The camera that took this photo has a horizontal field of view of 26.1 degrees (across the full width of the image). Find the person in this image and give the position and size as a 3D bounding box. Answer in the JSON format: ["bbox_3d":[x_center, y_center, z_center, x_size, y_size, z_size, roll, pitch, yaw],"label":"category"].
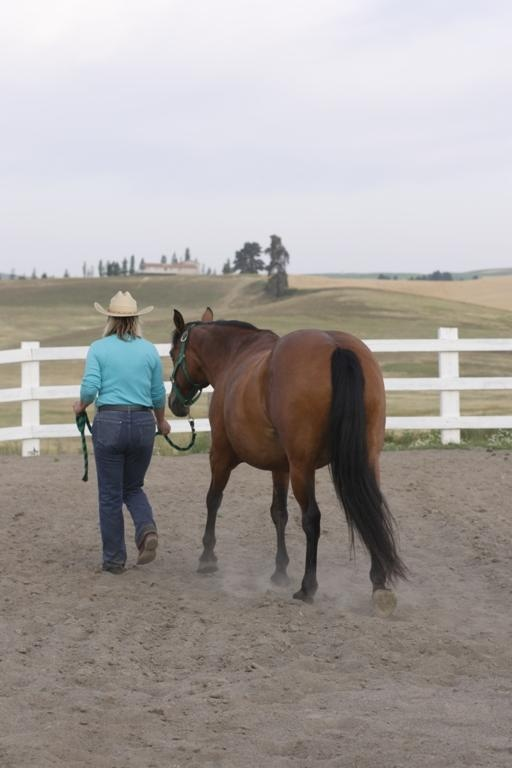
[{"bbox_3d":[-0.836,0.300,6.845,0.535,1.740,0.480,1,6,-6],"label":"person"}]

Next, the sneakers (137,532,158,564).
[{"bbox_3d":[-0.667,1.007,6.783,0.108,0.227,0.164,0,7,-11],"label":"sneakers"}]

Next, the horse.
[{"bbox_3d":[0.079,0.409,7.059,0.631,1.788,2.490,-1,-1,-29],"label":"horse"}]
